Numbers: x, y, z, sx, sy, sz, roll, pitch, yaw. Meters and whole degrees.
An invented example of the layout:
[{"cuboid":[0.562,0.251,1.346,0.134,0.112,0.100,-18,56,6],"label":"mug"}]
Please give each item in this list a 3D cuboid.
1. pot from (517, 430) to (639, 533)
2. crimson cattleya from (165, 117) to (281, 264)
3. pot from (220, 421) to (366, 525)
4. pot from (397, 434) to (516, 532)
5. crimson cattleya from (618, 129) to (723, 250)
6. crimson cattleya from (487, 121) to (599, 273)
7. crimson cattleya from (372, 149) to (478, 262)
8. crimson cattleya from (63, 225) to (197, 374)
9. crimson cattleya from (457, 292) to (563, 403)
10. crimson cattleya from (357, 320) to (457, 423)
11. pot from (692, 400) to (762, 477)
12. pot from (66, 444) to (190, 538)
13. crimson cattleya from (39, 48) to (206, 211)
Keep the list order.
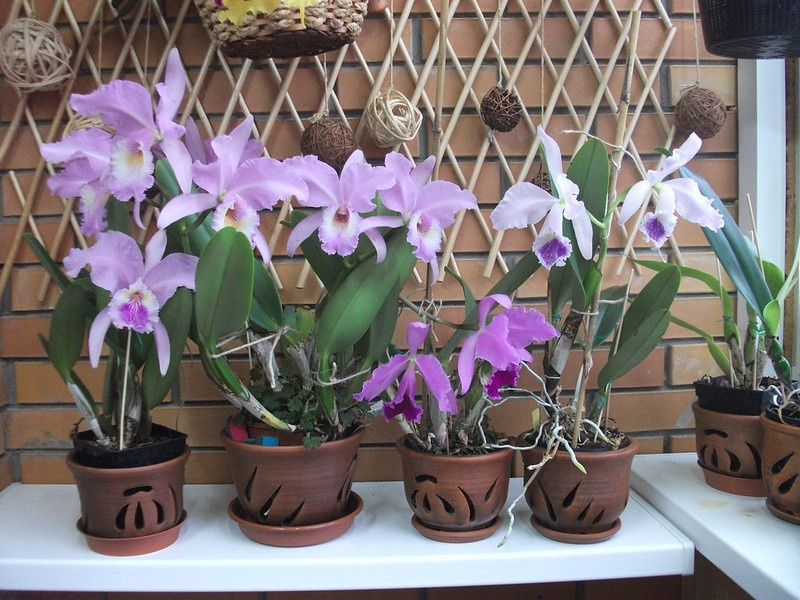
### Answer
[{"cuboid":[0.324,0.352,1.622,0.209,0.155,0.209,-1,4,0],"label":"pot"},{"cuboid":[-0.316,-0.215,1.449,0.207,0.106,0.213,27,-3,10],"label":"crimson cattleya"},{"cuboid":[-0.200,0.286,1.531,0.198,0.129,0.195,0,-4,0],"label":"pot"},{"cuboid":[0.096,0.357,1.633,0.253,0.182,0.258,1,-25,1],"label":"pot"},{"cuboid":[0.498,-0.205,1.539,0.154,0.196,0.130,-3,17,-11],"label":"crimson cattleya"},{"cuboid":[0.256,-0.179,1.470,0.191,0.237,0.101,1,17,2],"label":"crimson cattleya"},{"cuboid":[0.040,-0.159,1.462,0.186,0.092,0.223,15,49,-13],"label":"crimson cattleya"},{"cuboid":[-0.463,0.009,1.469,0.254,0.252,0.097,8,15,-4],"label":"crimson cattleya"},{"cuboid":[0.188,0.070,1.513,0.186,0.095,0.218,-1,48,5],"label":"crimson cattleya"},{"cuboid":[0.012,0.138,1.485,0.166,0.177,0.109,1,-11,20],"label":"crimson cattleya"},{"cuboid":[0.646,0.274,1.644,0.121,0.101,0.123,0,-2,0],"label":"pot"},{"cuboid":[-0.506,0.376,1.585,0.218,0.166,0.210,-3,-6,0],"label":"pot"},{"cuboid":[-0.417,-0.292,1.423,0.323,0.126,0.283,43,17,16],"label":"crimson cattleya"}]
